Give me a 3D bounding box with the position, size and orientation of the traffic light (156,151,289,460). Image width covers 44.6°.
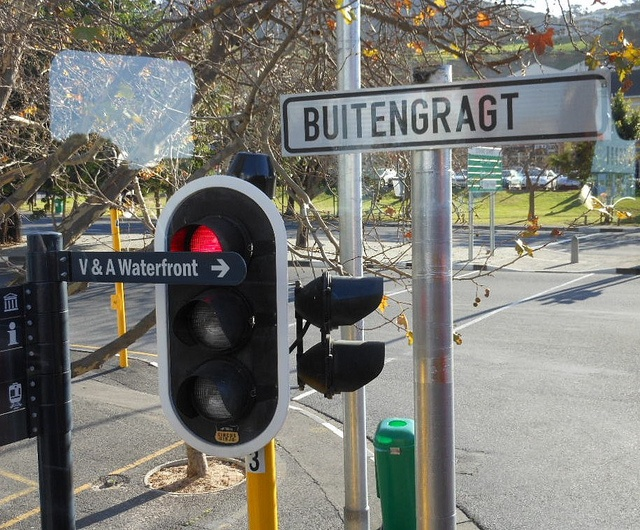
[{"bbox_3d":[-0.482,0.250,3.716,0.647,1.319,0.347,-1,9,-1],"label":"traffic light"}]
